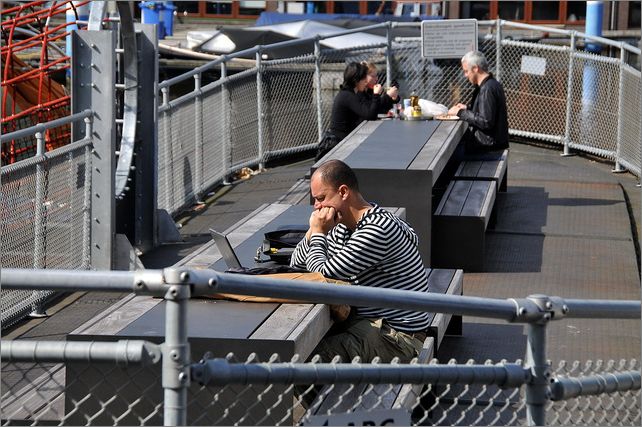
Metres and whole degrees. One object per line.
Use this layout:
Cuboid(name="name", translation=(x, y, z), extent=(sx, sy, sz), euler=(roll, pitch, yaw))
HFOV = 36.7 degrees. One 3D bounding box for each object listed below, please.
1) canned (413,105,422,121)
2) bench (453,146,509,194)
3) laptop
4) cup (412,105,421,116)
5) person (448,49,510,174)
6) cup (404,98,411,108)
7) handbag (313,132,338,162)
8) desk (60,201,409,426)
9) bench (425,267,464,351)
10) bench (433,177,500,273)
Cuboid(name="canned", translation=(1.414, -1.461, 14.239), extent=(0.143, 0.260, 0.157), euler=(3, 9, 20))
Cuboid(name="bench", translation=(2.334, -0.546, 14.098), extent=(0.460, 0.574, 1.402), euler=(-23, -20, 22))
Cuboid(name="laptop", translation=(-0.802, 0.386, 9.428), extent=(0.379, 0.377, 0.508), euler=(-26, 14, -30))
Cuboid(name="cup", translation=(1.400, -1.496, 14.240), extent=(0.120, 0.148, 0.131), euler=(1, 7, 0))
Cuboid(name="person", translation=(2.267, -1.350, 14.432), extent=(1.025, 2.086, 1.013), euler=(4, 16, 21))
Cuboid(name="cup", translation=(1.306, -1.672, 14.776), extent=(0.128, 0.151, 0.138), euler=(-1, 8, 0))
Cuboid(name="handbag", translation=(0.054, -0.962, 13.892), extent=(0.150, 0.422, 0.305), euler=(41, -8, -19))
Cuboid(name="desk", translation=(-0.952, 1.155, 8.676), extent=(1.967, 0.948, 3.413), euler=(10, 21, 19))
Cuboid(name="bench", translation=(1.188, 0.941, 9.383), extent=(0.238, 0.433, 0.812), euler=(4, 15, 18))
Cuboid(name="bench", translation=(1.862, 0.062, 12.094), extent=(0.585, 0.662, 1.951), euler=(-3, -15, -2))
